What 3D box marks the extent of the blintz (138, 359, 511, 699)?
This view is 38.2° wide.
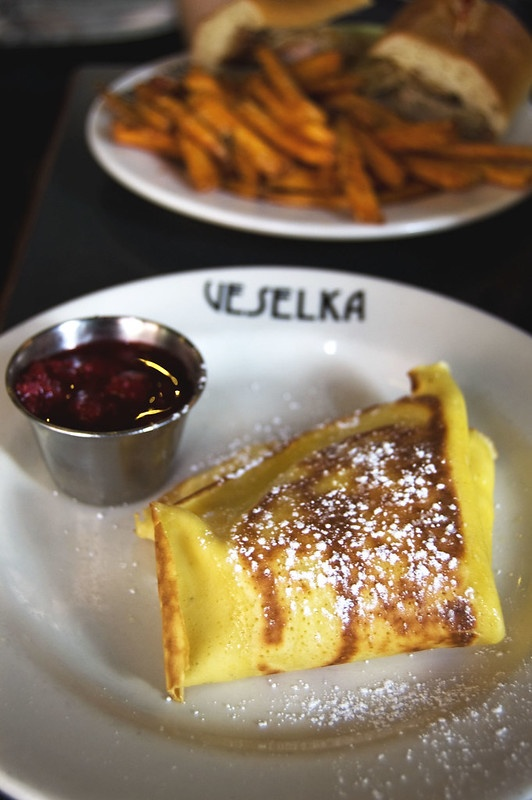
[{"bbox_3d":[0.067,0.125,0.771,0.371,0.109,0.400,12,43,29],"label":"blintz"}]

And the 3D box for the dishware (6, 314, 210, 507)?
[{"bbox_3d":[-0.149,0.033,0.896,0.217,0.136,0.211,-29,54,-30],"label":"dishware"}]
